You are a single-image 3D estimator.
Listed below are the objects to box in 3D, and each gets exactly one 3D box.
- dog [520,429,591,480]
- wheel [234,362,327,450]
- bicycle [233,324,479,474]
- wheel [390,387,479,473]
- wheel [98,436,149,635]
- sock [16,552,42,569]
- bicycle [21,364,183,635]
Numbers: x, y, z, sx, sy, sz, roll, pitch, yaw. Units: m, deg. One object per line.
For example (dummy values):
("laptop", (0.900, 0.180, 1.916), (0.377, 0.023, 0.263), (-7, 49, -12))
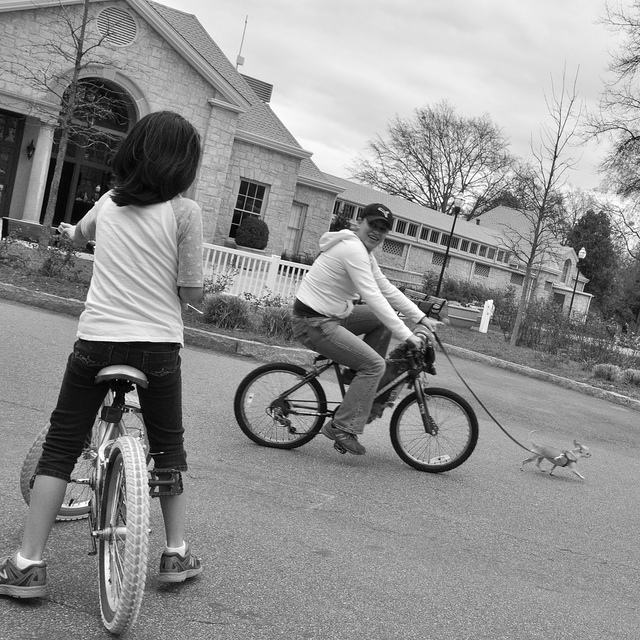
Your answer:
("dog", (2.516, 1.460, 6.571), (0.742, 0.521, 0.545), (12, 3, 10))
("wheel", (-0.341, 0.719, 5.339), (0.855, 0.982, 0.208), (3, 27, -19))
("bicycle", (0.354, 0.598, 5.480), (2.138, 1.440, 1.084), (9, -26, 0))
("wheel", (1.024, 0.998, 5.498), (0.804, 0.908, 0.153), (3, 26, 5))
("wheel", (-0.716, 0.796, 2.217), (0.127, 0.519, 0.491), (3, 23, -20))
("sock", (-1.072, 0.875, 2.237), (0.091, 0.072, 0.032), (-2, 2, -12))
("bicycle", (-0.779, 0.682, 2.613), (0.582, 0.771, 1.239), (6, 6, -19))
